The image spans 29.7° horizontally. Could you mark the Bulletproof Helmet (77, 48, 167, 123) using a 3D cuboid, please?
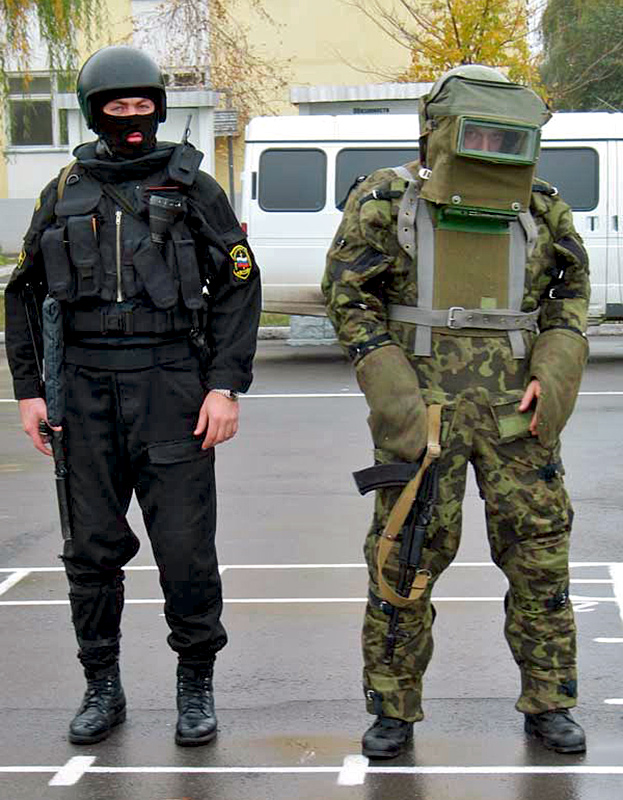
[{"bbox_3d":[-0.558,-0.914,3.450,0.257,0.240,0.197,-3,9,-9],"label":"Bulletproof Helmet"}]

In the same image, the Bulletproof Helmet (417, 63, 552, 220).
[{"bbox_3d":[0.469,-0.737,3.352,0.442,0.398,0.270,-4,22,-5],"label":"Bulletproof Helmet"}]

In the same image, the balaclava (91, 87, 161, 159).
[{"bbox_3d":[-0.530,-0.800,3.412,0.161,0.171,0.105,-6,22,-8],"label":"balaclava"}]
